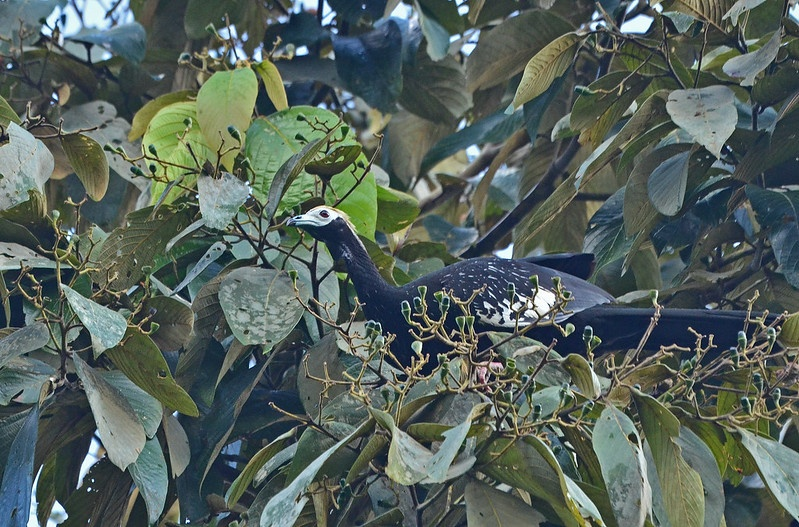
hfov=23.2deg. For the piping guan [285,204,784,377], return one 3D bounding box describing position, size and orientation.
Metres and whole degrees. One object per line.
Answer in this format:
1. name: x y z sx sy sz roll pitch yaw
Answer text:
1. piping guan: 0.233 0.137 7.233 1.186 0.711 0.408 8 38 27
